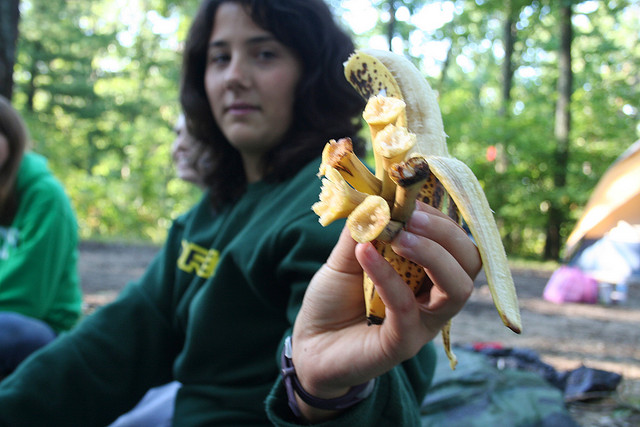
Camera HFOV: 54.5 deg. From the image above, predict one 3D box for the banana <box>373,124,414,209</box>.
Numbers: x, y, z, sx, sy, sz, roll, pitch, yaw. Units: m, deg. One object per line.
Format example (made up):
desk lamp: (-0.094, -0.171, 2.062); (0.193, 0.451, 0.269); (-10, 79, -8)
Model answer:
banana: (0.370, -0.232, 3.131); (0.139, 0.152, 0.403); (40, -23, 28)

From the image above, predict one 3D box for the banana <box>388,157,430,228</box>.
banana: (0.445, -0.109, 3.126); (0.190, 0.348, 0.075); (1, 6, 8)
